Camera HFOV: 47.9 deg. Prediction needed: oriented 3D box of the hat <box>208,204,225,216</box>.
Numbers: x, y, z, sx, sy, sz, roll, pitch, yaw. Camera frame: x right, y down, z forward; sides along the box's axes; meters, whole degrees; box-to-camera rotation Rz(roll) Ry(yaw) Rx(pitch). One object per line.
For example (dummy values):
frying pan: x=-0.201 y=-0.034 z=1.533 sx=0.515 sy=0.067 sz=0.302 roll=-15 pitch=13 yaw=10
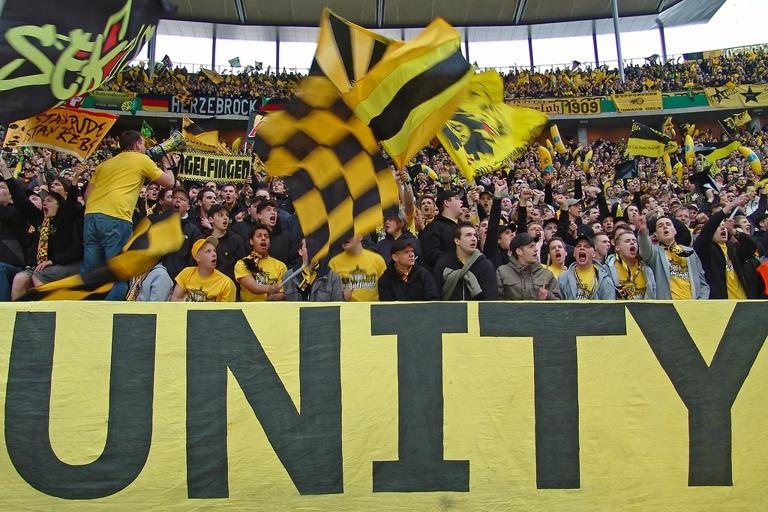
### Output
hat: x=-2.315 y=-0.641 z=11.905 sx=0.230 sy=0.107 sz=0.168 roll=-28 pitch=-18 yaw=19

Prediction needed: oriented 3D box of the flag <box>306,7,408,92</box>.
flag: x=-0.431 y=-2.440 z=10.309 sx=1.037 sy=1.018 sz=0.367 roll=-5 pitch=9 yaw=-38

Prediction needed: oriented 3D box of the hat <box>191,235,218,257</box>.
hat: x=-2.313 y=-0.118 z=11.192 sx=0.300 sy=0.275 sz=0.484 roll=-2 pitch=7 yaw=-14

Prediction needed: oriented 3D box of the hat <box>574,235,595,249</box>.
hat: x=2.621 y=-0.200 z=11.263 sx=0.213 sy=0.170 sz=0.253 roll=1 pitch=7 yaw=11

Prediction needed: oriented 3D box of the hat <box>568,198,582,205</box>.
hat: x=2.889 y=-0.822 z=13.120 sx=0.189 sy=0.061 sz=0.129 roll=-15 pitch=18 yaw=39
